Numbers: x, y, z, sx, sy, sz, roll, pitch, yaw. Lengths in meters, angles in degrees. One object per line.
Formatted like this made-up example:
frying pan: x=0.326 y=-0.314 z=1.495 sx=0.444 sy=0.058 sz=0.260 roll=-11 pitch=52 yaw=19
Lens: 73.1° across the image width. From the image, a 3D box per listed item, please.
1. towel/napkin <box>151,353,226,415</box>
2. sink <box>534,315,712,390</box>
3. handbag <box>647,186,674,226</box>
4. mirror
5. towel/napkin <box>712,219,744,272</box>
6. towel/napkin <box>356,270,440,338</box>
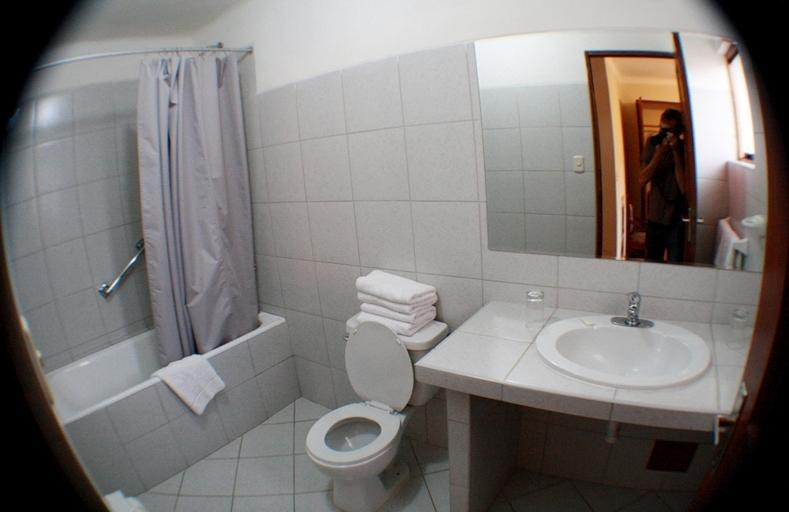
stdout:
towel/napkin: x=-1.035 y=0.650 z=2.689 sx=0.164 sy=0.241 sz=0.285 roll=7 pitch=16 yaw=29
sink: x=0.807 y=0.363 z=1.916 sx=0.557 sy=0.177 sz=0.431 roll=7 pitch=16 yaw=31
handbag: x=0.944 y=-0.186 z=1.890 sx=0.112 sy=0.156 sz=0.081 roll=5 pitch=15 yaw=34
mirror: x=0.861 y=-0.382 z=1.960 sx=1.033 sy=0.863 sz=0.123 roll=3 pitch=-16 yaw=4
towel/napkin: x=1.145 y=-0.044 z=1.835 sx=0.078 sy=0.190 sz=0.081 roll=7 pitch=16 yaw=30
towel/napkin: x=0.001 y=0.201 z=2.444 sx=0.328 sy=0.192 sz=0.278 roll=15 pitch=28 yaw=36
